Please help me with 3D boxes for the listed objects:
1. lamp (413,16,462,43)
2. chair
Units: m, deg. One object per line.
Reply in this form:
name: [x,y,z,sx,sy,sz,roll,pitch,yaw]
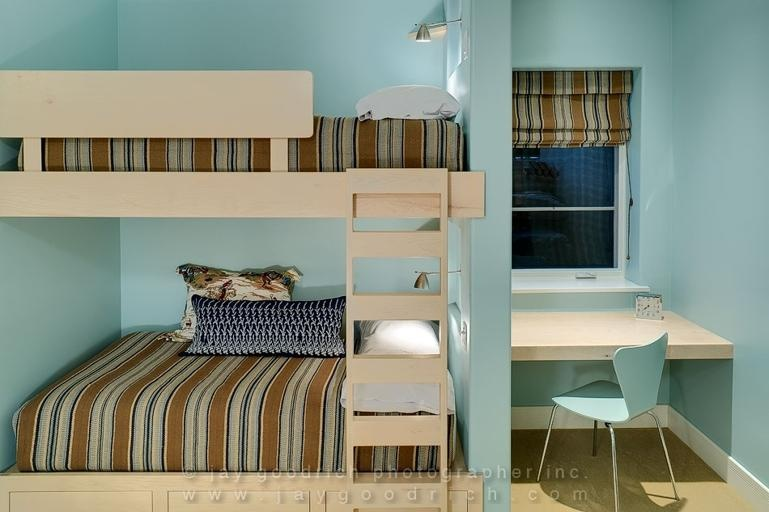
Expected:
lamp: [0.295,-1.491,4.430,0.403,0.130,0.129,-10,25,-26]
chair: [1.447,1.029,4.395,0.691,1.107,0.794,-4,3,-44]
